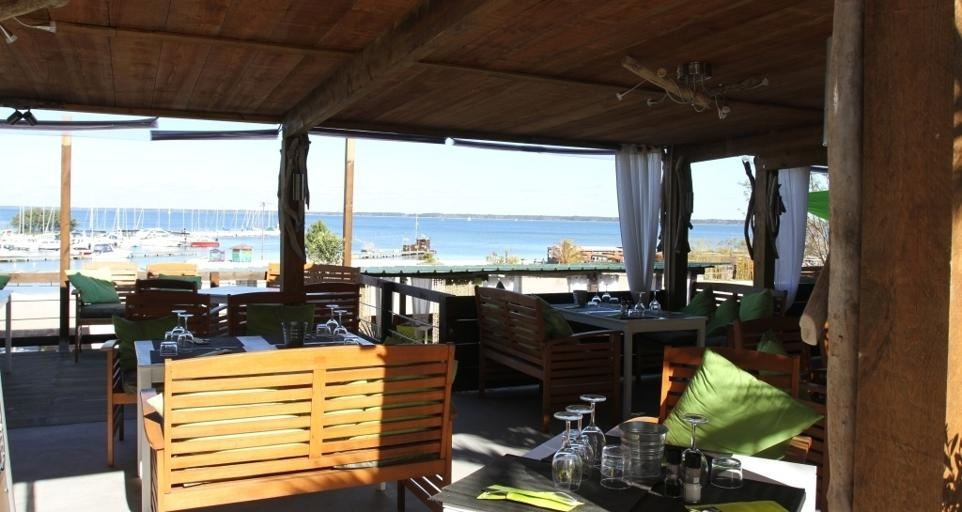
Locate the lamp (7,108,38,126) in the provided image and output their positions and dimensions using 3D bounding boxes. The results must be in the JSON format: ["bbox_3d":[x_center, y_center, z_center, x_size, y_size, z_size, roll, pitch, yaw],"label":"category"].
[{"bbox_3d":[-4.842,-1.458,7.045,0.274,0.185,0.159,-3,1,4],"label":"lamp"}]

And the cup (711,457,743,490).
[{"bbox_3d":[1.348,1.195,3.686,0.177,0.112,0.161,-1,-5,0],"label":"cup"}]

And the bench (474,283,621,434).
[{"bbox_3d":[0.669,1.058,7.139,1.049,1.102,1.579,4,-1,-21],"label":"bench"}]

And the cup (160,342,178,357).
[{"bbox_3d":[-2.367,0.712,5.072,0.142,0.102,0.109,0,7,-15],"label":"cup"}]

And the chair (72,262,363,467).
[{"bbox_3d":[-2.467,1.215,7.028,2.499,1.301,2.309,-2,5,-18],"label":"chair"}]

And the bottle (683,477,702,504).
[{"bbox_3d":[1.133,1.258,3.566,0.099,0.083,0.071,-3,1,7],"label":"bottle"}]

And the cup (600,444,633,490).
[{"bbox_3d":[0.736,1.172,3.696,0.199,0.182,0.197,-1,-2,0],"label":"cup"}]

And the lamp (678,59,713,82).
[{"bbox_3d":[1.874,-1.620,5.885,0.280,0.119,0.212,-3,1,16],"label":"lamp"}]
